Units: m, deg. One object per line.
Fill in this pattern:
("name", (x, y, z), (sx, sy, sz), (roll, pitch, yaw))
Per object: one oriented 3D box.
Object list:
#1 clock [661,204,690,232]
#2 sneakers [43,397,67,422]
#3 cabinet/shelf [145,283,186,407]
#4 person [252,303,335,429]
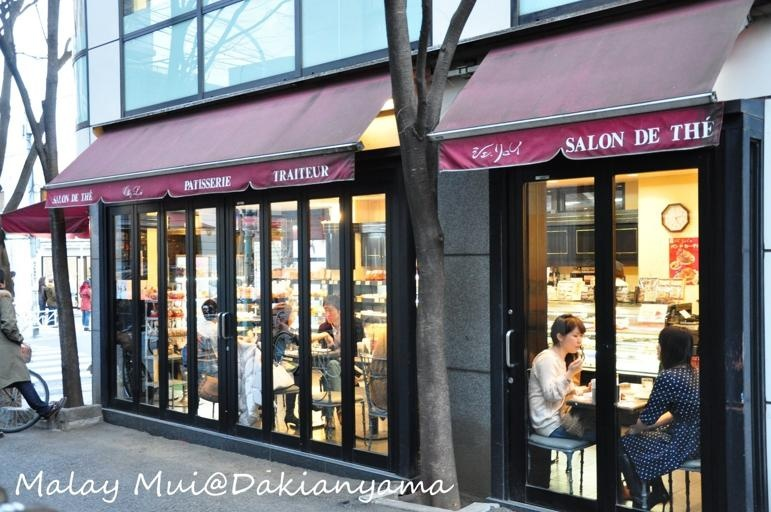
("clock", (2.942, -0.402, 7.288), (0.023, 0.287, 0.291), (-8, 5, -37))
("sneakers", (-5.015, 2.328, 10.947), (0.440, 0.147, 0.186), (-35, -47, 24))
("cabinet/shelf", (-3.361, 1.262, 11.076), (0.993, 1.709, 0.280), (-1, 3, 42))
("person", (-1.396, 1.564, 9.943), (0.871, 1.329, 0.813), (12, 42, -15))
